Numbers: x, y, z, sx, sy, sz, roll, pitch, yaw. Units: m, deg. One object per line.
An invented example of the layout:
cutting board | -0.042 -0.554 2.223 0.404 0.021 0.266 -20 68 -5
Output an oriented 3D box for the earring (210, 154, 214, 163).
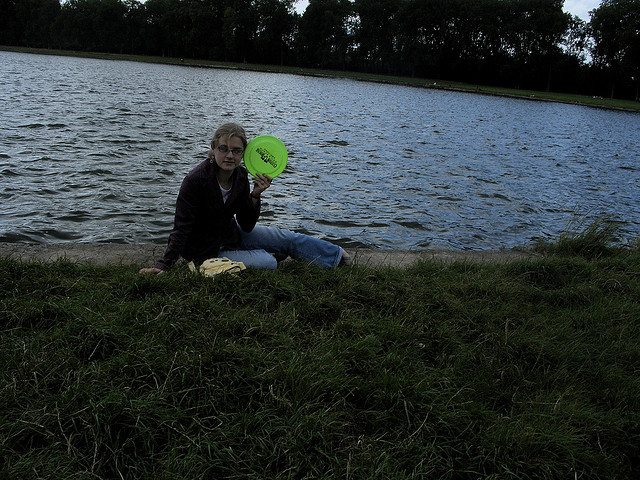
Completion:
earring | -1.096 -0.811 5.907 0.014 0.054 0.040 18 11 -9

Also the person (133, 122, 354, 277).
person | -0.807 -0.393 6.218 2.573 1.437 1.168 -1 5 -31

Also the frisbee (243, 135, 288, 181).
frisbee | -0.582 -0.867 6.143 0.493 0.433 0.343 -1 20 -20
